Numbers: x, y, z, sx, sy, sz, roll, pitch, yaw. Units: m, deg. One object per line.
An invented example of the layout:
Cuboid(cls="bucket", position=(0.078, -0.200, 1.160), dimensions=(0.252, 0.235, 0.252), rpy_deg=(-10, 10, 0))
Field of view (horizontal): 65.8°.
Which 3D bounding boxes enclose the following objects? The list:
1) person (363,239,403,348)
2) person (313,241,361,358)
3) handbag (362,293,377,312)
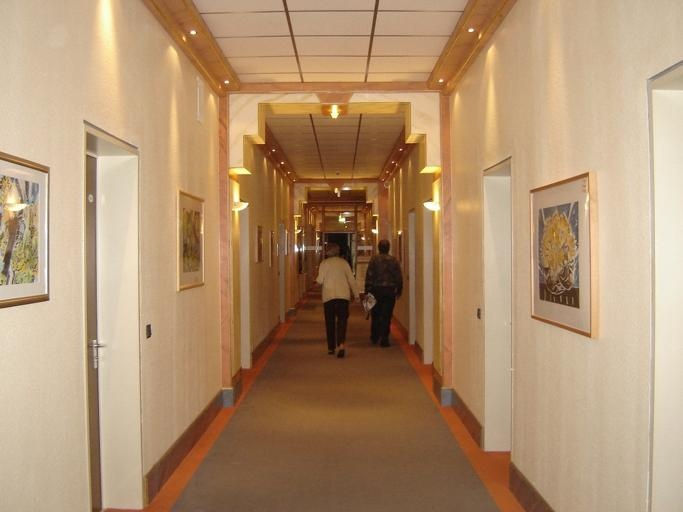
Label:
Cuboid(cls="person", position=(0.807, 0.705, 10.148), dimensions=(0.697, 2.052, 0.755), rpy_deg=(0, 2, -2))
Cuboid(cls="person", position=(-0.060, 0.751, 9.167), dimensions=(0.676, 1.970, 0.527), rpy_deg=(0, 2, 1))
Cuboid(cls="handbag", position=(0.561, 0.876, 9.966), dimensions=(0.244, 0.407, 0.512), rpy_deg=(0, 3, 3))
